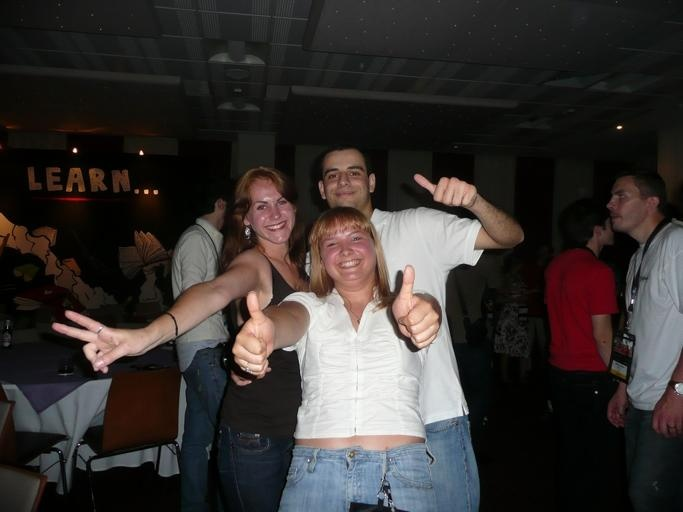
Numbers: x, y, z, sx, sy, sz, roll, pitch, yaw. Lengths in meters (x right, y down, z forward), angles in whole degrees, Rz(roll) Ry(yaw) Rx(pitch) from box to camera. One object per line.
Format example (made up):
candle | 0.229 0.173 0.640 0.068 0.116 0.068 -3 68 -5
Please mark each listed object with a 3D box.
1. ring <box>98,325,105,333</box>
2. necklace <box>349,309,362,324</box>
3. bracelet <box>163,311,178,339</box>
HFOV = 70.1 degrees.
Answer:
ring | -0.967 0.299 1.956 0.025 0.007 0.025 -44 -6 -6
necklace | 0.073 0.294 2.369 0.044 0.016 0.064 0 28 0
bracelet | -0.727 0.296 2.087 0.062 0.105 0.037 1 5 -1
